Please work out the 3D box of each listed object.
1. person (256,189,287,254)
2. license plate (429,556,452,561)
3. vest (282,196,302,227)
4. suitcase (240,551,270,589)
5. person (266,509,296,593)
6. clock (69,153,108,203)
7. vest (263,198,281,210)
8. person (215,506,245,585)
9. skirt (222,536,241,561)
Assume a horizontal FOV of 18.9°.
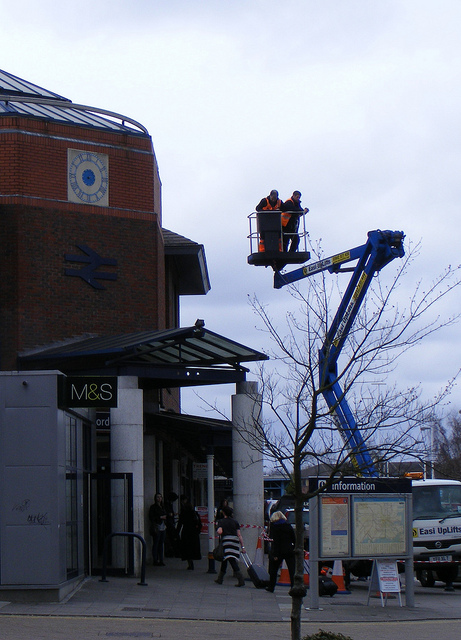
[{"bbox_3d":[0.870,-2.154,30.365,0.585,1.478,0.658,0,-8,4],"label":"person"},{"bbox_3d":[3.681,4.219,24.375,0.391,0.090,0.041,-4,-10,-1],"label":"license plate"},{"bbox_3d":[1.276,-2.407,30.526,0.229,0.749,0.671,-7,-11,22],"label":"vest"},{"bbox_3d":[0.474,4.412,23.718,0.357,0.423,0.665,-4,-11,0],"label":"suitcase"},{"bbox_3d":[0.833,3.835,22.942,0.443,1.339,0.726,-3,-10,1],"label":"person"},{"bbox_3d":[-2.974,-2.966,28.925,0.889,0.997,0.097,4,-12,-37],"label":"clock"},{"bbox_3d":[0.893,-2.552,30.433,0.394,0.340,0.246,-4,-10,1],"label":"vest"},{"bbox_3d":[-0.052,3.944,24.249,0.523,1.414,1.466,-3,-10,-1],"label":"person"},{"bbox_3d":[-0.002,3.923,23.690,0.373,0.622,0.308,3,-9,-9],"label":"skirt"}]
